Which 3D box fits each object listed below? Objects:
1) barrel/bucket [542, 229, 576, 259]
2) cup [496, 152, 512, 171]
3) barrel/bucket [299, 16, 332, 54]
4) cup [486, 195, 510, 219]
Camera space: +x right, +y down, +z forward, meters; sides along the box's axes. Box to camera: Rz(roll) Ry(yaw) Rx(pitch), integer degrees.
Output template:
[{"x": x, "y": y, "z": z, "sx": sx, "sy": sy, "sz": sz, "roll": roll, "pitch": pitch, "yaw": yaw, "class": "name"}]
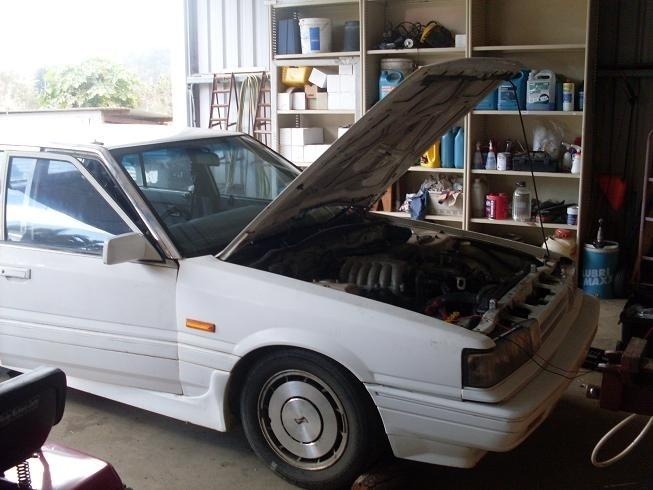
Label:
[{"x": 2.031, "y": -0.010, "z": 4.596, "sx": 0.223, "sy": 0.222, "sz": 0.237, "roll": 2, "pitch": 11, "yaw": 0, "class": "barrel/bucket"}, {"x": 1.766, "y": -0.839, "z": 5.300, "sx": 0.166, "sy": 0.187, "sz": 0.168, "roll": -1, "pitch": 3, "yaw": 0, "class": "cup"}, {"x": -0.100, "y": -2.328, "z": 5.974, "sx": 0.396, "sy": 0.353, "sz": 0.385, "roll": -1, "pitch": 7, "yaw": 0, "class": "barrel/bucket"}, {"x": 1.788, "y": -0.405, "z": 5.502, "sx": 0.241, "sy": 0.259, "sz": 0.247, "roll": -1, "pitch": 7, "yaw": 0, "class": "cup"}]
